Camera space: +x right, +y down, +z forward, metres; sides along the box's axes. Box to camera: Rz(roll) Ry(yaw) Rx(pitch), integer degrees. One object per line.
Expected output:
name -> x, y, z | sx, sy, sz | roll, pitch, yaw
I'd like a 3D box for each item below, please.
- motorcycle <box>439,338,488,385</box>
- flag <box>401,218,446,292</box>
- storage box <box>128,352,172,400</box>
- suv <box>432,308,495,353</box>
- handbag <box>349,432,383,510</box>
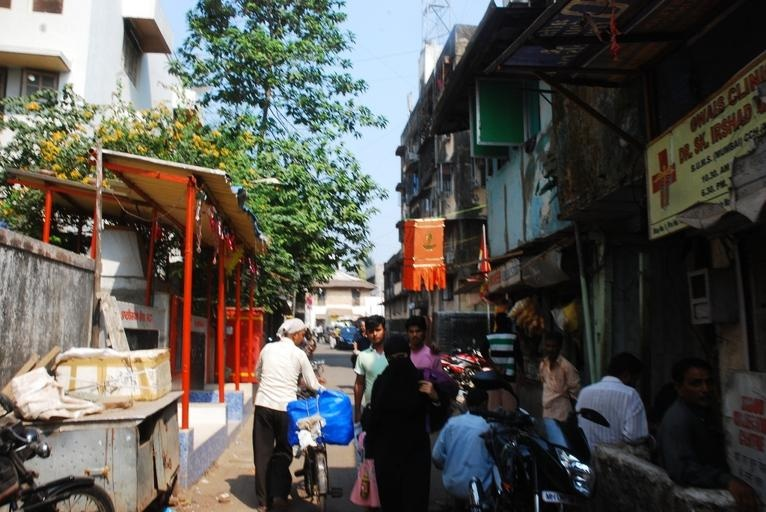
motorcycle -> 2.080, 2.731, 16.837 | 1.682, 1.191, 1.091 | 10, -5, 3
flag -> 1.532, 0.069, 22.975 | 1.904, 3.277, 1.972 | -1, -3, -1
storage box -> -2.908, 1.484, 8.327 | 0.417, 0.550, 0.769 | -4, -9, 4
suv -> 2.722, 2.523, 22.309 | 2.409, 1.926, 1.462 | 1, -7, -8
handbag -> -0.198, 2.645, 8.066 | 0.312, 0.948, 1.116 | 3, -11, -15
